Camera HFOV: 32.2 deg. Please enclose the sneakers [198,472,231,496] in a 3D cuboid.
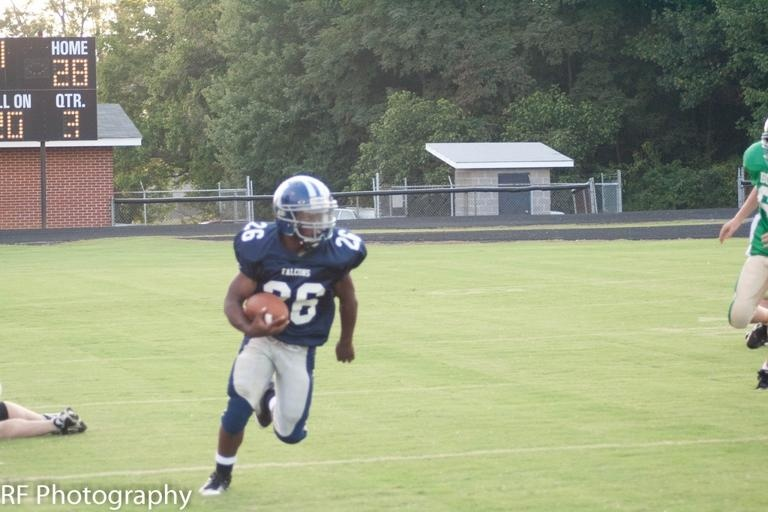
[{"bbox_3d":[-2.594,3.350,19.352,0.642,0.206,0.222,-3,5,8],"label":"sneakers"}]
